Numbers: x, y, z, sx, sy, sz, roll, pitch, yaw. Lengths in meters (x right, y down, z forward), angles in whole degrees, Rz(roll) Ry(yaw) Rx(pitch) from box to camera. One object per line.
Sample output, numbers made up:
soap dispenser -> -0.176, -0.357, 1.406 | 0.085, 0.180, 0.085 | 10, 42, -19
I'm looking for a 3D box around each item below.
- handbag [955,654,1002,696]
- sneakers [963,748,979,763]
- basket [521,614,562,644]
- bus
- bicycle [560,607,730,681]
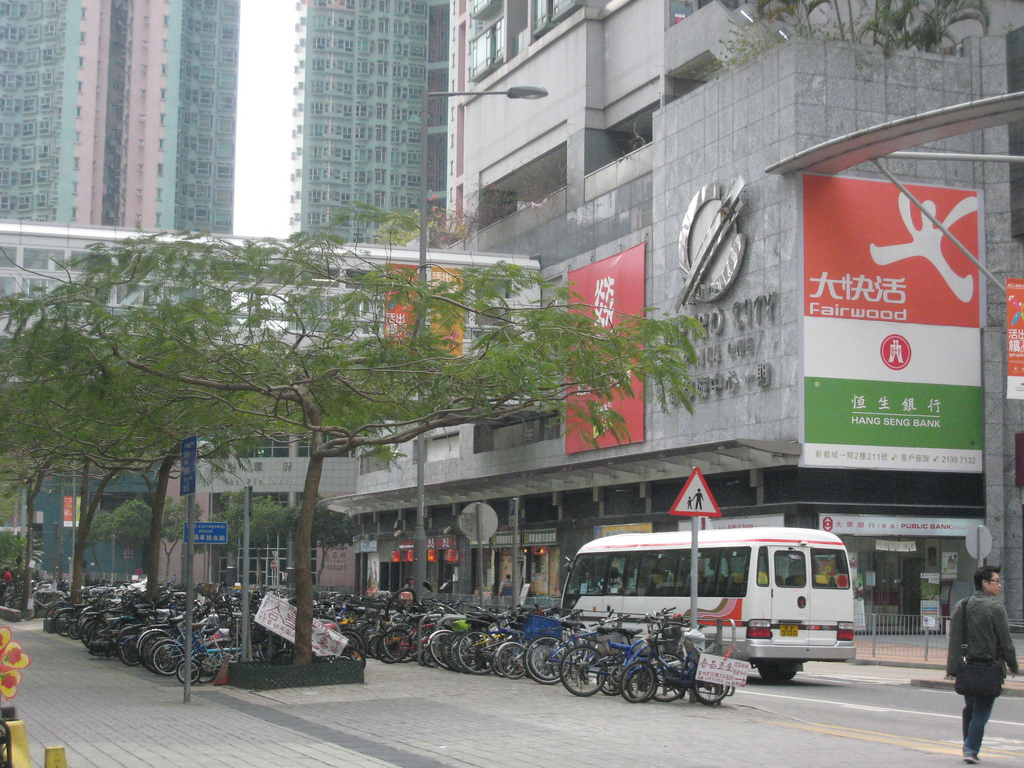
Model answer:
handbag -> 6.607, 4.113, 20.012 | 0.559, 0.511, 0.239 | -3, -22, 27
sneakers -> 6.492, 5.256, 19.992 | 0.273, 0.223, 0.145 | -1, -9, -22
basket -> 0.597, 4.824, 28.084 | 0.726, 0.489, 0.538 | 3, -10, 10
bus -> 4.337, 4.732, 31.693 | 3.214, 2.696, 6.433 | 8, -8, -36
bicycle -> 2.429, 4.950, 25.140 | 3.018, 1.471, 1.210 | 1, -3, 6
